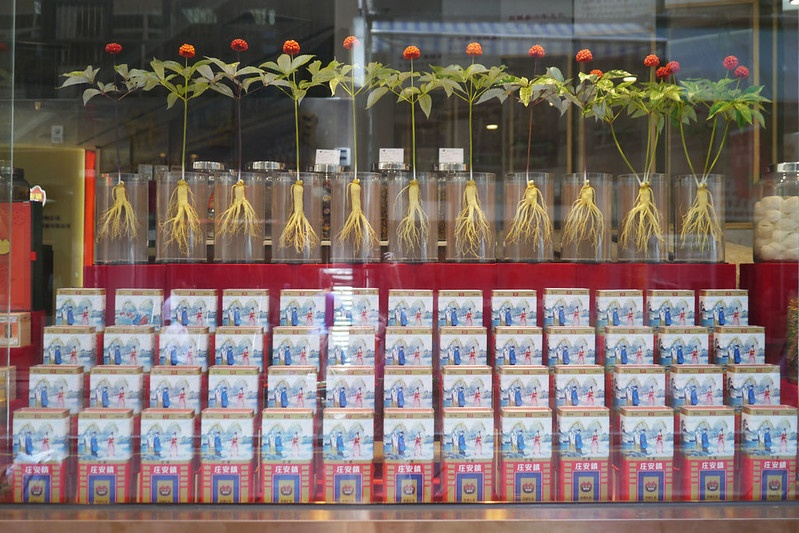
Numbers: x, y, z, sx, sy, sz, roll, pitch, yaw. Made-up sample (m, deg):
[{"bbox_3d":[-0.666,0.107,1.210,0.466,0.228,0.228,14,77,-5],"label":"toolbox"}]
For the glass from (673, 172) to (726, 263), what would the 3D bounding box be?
[{"bbox_3d":[1.311,-0.188,7.254,0.218,0.410,0.234,3,-12,-4],"label":"glass"}]

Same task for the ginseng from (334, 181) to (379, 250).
[{"bbox_3d":[-0.179,-0.226,7.113,0.148,0.324,0.149,4,10,14],"label":"ginseng"}]

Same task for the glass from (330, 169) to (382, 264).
[{"bbox_3d":[-0.192,-0.207,7.198,0.230,0.415,0.238,3,1,18],"label":"glass"}]

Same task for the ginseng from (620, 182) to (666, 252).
[{"bbox_3d":[1.043,-0.217,7.156,0.183,0.312,0.026,-1,-2,-2],"label":"ginseng"}]

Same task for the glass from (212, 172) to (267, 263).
[{"bbox_3d":[-0.704,-0.171,7.225,0.258,0.477,0.269,4,-21,-11],"label":"glass"}]

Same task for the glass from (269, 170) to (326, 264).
[{"bbox_3d":[-0.447,-0.213,7.098,0.300,0.537,0.315,1,-1,-14],"label":"glass"}]

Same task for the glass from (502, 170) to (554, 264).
[{"bbox_3d":[0.578,-0.230,7.250,0.231,0.420,0.237,4,0,-14],"label":"glass"}]

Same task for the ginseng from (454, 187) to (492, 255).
[{"bbox_3d":[0.310,-0.205,7.116,0.154,0.328,0.026,-1,-2,2],"label":"ginseng"}]

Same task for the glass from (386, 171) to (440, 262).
[{"bbox_3d":[0.066,-0.179,7.198,0.217,0.382,0.215,2,-8,-31],"label":"glass"}]

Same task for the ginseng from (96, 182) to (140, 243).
[{"bbox_3d":[-1.212,-0.250,7.137,0.110,0.258,0.147,9,-7,-16],"label":"ginseng"}]

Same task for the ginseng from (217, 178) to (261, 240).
[{"bbox_3d":[-0.690,-0.251,7.127,0.170,0.266,0.109,-7,-15,13],"label":"ginseng"}]

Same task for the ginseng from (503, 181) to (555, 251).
[{"bbox_3d":[0.565,-0.248,7.151,0.151,0.315,0.144,-2,-16,26],"label":"ginseng"}]

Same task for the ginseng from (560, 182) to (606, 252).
[{"bbox_3d":[0.799,-0.235,7.150,0.132,0.282,0.148,10,-4,14],"label":"ginseng"}]

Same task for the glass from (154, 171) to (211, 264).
[{"bbox_3d":[-0.953,-0.205,7.213,0.248,0.431,0.242,4,-9,-28],"label":"glass"}]

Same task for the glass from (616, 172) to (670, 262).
[{"bbox_3d":[1.071,-0.190,7.246,0.228,0.410,0.242,-3,-10,10],"label":"glass"}]

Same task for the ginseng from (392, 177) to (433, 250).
[{"bbox_3d":[0.054,-0.211,7.106,0.150,0.341,0.024,-1,-2,4],"label":"ginseng"}]
